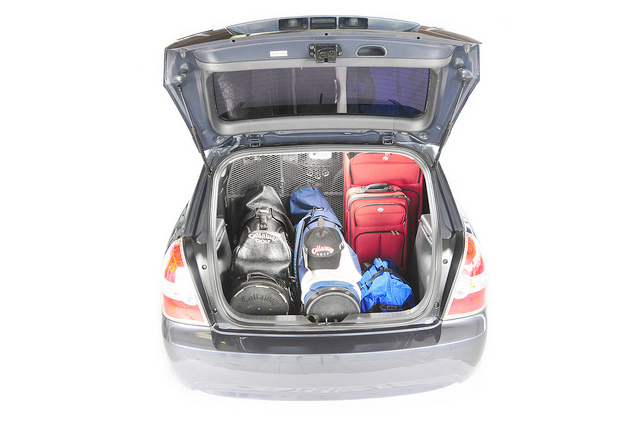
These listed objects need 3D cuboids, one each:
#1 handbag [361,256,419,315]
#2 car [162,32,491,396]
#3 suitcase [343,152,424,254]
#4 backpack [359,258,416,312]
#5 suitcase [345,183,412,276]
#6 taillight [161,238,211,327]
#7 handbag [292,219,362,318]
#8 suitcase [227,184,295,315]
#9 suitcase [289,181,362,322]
[{"bbox_3d":[0.391,0.432,3.282,0.383,0.518,0.179,-2,-71,2],"label":"handbag"},{"bbox_3d":[0.075,-0.325,3.166,1.465,2.332,1.482,-1,-47,0],"label":"car"},{"bbox_3d":[0.402,0.160,3.776,0.539,0.410,0.704,-3,-72,-5],"label":"suitcase"},{"bbox_3d":[0.372,0.433,3.288,0.360,0.516,0.191,-9,-71,-5],"label":"backpack"},{"bbox_3d":[0.410,0.147,3.597,0.454,0.369,0.603,2,-78,17],"label":"suitcase"},{"bbox_3d":[-0.730,0.393,2.773,0.319,0.346,0.400,-9,-56,-11],"label":"taillight"},{"bbox_3d":[0.038,0.285,3.207,0.426,0.816,0.320,-5,-55,-2],"label":"handbag"},{"bbox_3d":[-0.358,0.218,3.261,0.302,0.849,0.310,3,-49,-5],"label":"suitcase"},{"bbox_3d":[-0.016,0.185,3.444,0.437,1.217,0.434,-1,-56,-7],"label":"suitcase"}]
